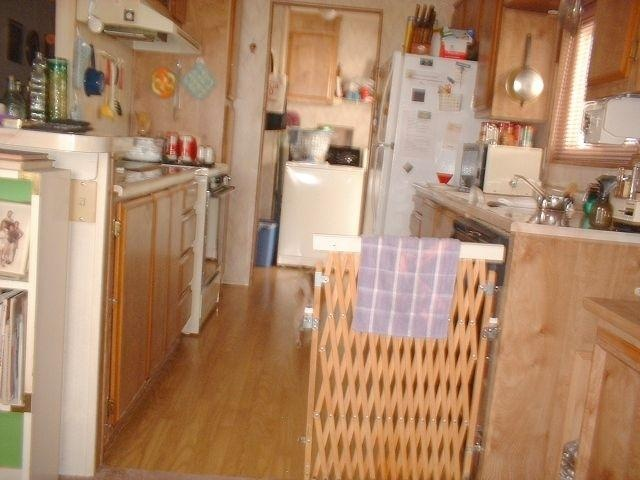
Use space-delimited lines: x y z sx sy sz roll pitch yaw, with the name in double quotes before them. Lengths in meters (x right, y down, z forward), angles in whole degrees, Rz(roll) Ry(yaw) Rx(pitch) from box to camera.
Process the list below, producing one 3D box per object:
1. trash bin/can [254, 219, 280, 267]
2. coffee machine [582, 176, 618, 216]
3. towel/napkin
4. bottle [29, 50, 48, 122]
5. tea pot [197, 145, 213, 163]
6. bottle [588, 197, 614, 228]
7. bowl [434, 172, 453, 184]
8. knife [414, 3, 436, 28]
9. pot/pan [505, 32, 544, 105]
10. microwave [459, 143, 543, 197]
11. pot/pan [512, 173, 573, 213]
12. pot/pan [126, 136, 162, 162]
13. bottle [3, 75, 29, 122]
"trash bin/can" -0.538 0.040 5.266 0.219 0.470 0.201 2 6 -5
"coffee machine" 1.181 -0.184 2.193 0.121 0.137 0.113 5 34 -1
"towel/napkin" 0.298 0.175 1.827 0.339 0.354 0.089 6 7 3
"bottle" -1.461 -0.799 2.695 0.085 0.361 0.203 -1 7 -29
"tea pot" -0.760 -0.569 3.457 0.103 0.103 0.105 0 0 0
"bottle" 1.140 -0.108 2.098 0.083 0.125 0.132 6 7 27
"bowl" 0.944 -0.463 3.926 0.092 0.067 0.093 2 -1 0
"knife" 0.787 -1.708 3.936 0.151 0.224 0.308 3 6 7
"pot/pan" 1.368 -1.088 3.403 0.191 0.489 0.066 4 5 4
"microwave" 1.219 -0.454 3.497 0.586 0.384 0.423 2 13 -1
"pot/pan" 0.900 -0.196 2.137 0.249 0.107 0.100 11 29 2
"pot/pan" -1.053 -0.543 3.117 0.223 0.154 0.169 0 6 -26
"bottle" -1.472 -0.698 2.511 0.095 0.220 0.144 -1 7 -31
